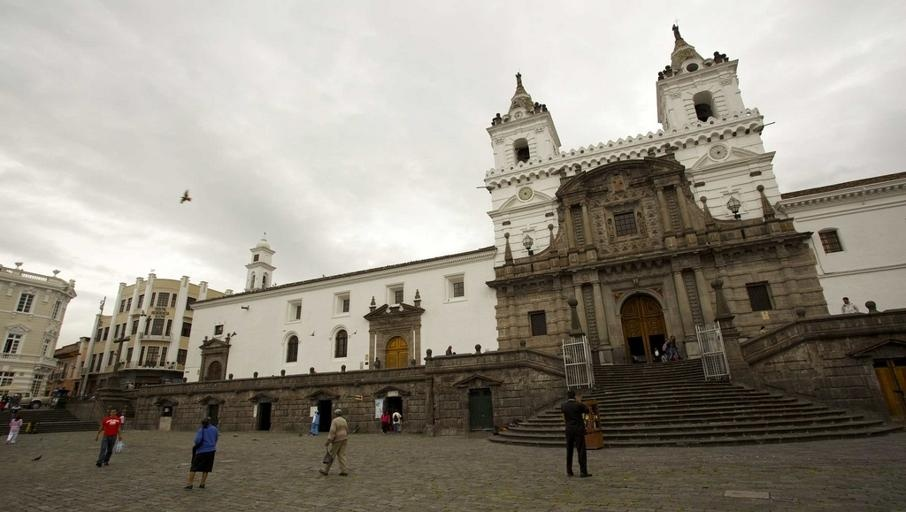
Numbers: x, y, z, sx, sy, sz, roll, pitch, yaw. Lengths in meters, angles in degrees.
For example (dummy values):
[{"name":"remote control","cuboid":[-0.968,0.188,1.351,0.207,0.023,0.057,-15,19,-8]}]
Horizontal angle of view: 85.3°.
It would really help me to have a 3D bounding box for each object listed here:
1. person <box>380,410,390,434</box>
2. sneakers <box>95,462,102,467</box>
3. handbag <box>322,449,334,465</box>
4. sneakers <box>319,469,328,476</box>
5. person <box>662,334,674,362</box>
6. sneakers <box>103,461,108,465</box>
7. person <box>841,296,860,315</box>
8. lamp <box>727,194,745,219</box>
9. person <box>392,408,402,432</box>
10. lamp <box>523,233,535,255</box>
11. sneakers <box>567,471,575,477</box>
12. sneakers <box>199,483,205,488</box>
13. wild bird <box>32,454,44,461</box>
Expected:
[{"name":"person","cuboid":[-4.777,11.490,34.637,0.685,1.018,0.863,-4,2,-7]},{"name":"sneakers","cuboid":[-17.334,10.048,23.909,0.217,0.222,0.181,-5,3,-35]},{"name":"handbag","cuboid":[-5.713,9.075,22.249,0.344,0.451,0.576,-5,3,-30]},{"name":"sneakers","cuboid":[-5.919,9.705,22.250,0.522,0.201,0.225,-2,3,23]},{"name":"person","cuboid":[14.311,6.084,32.386,0.671,1.413,1.145,-3,2,21]},{"name":"sneakers","cuboid":[-17.167,10.131,24.120,0.184,0.104,0.093,-1,-3,5]},{"name":"person","cuboid":[25.669,3.101,31.595,0.834,0.870,1.781,-2,2,36]},{"name":"lamp","cuboid":[20.361,-3.528,35.337,0.788,1.710,1.340,-2,3,38]},{"name":"person","cuboid":[-3.888,11.471,34.278,0.657,0.886,0.692,-4,2,-8]},{"name":"lamp","cuboid":[6.037,-0.921,38.982,0.870,1.603,1.059,-4,2,7]},{"name":"sneakers","cuboid":[5.083,9.249,21.021,0.150,0.257,0.431,-6,-5,31]},{"name":"sneakers","cuboid":[-10.821,9.798,21.086,0.228,0.156,0.318,-5,3,-36]},{"name":"wild bird","cuboid":[-22.051,10.604,25.887,1.050,0.365,0.289,-16,-35,30]}]
